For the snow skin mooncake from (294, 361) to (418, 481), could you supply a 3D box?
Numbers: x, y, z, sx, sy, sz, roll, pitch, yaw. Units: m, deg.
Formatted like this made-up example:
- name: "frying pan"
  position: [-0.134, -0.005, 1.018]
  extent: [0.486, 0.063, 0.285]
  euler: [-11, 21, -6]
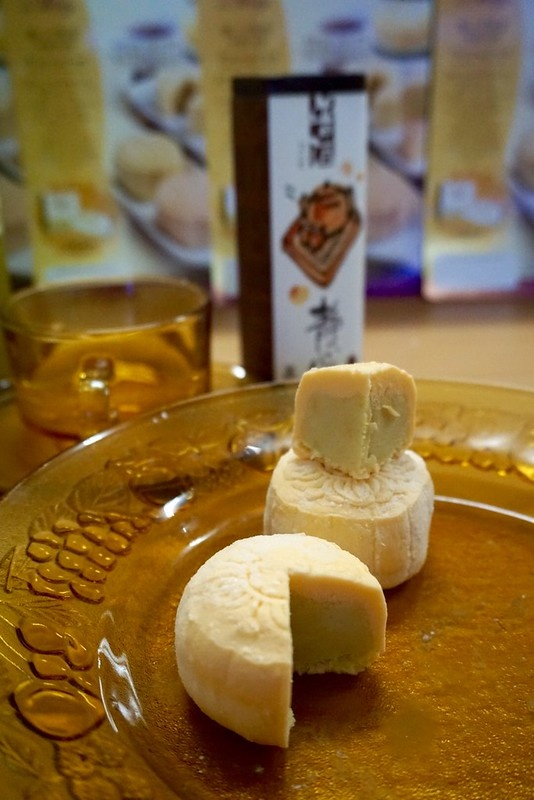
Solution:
- name: "snow skin mooncake"
  position: [0.103, 0.014, 0.872]
  extent: [0.146, 0.102, 0.138]
  euler: [0, 4, 28]

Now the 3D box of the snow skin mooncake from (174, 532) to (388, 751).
- name: "snow skin mooncake"
  position: [0.004, 0.202, 0.690]
  extent: [0.156, 0.105, 0.193]
  euler: [15, 27, 36]
